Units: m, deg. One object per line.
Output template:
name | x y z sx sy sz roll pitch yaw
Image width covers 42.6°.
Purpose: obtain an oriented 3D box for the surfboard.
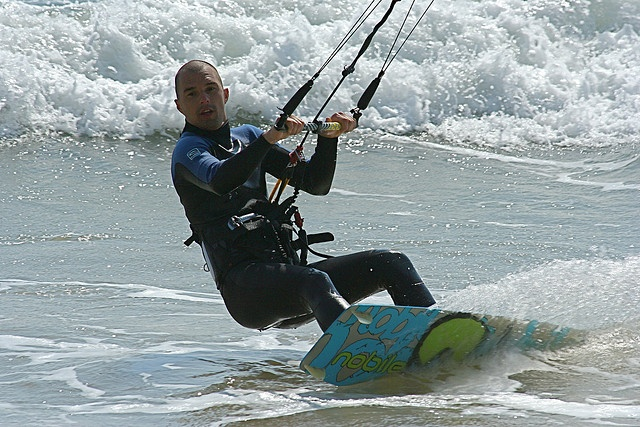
surfboard | 1.181 1.143 7.536 3.127 0.462 0.191 -4 19 -24
